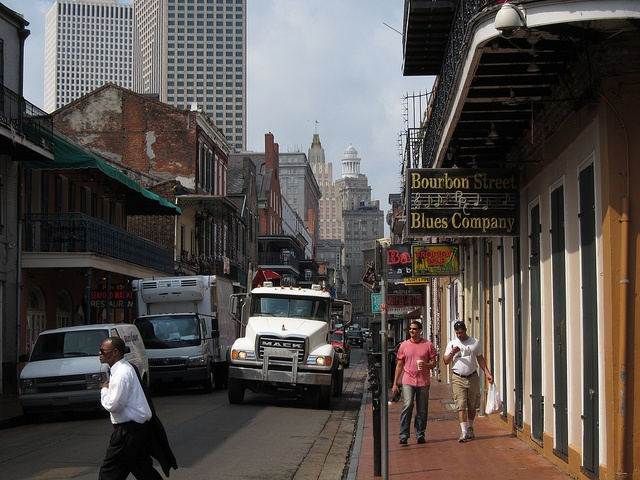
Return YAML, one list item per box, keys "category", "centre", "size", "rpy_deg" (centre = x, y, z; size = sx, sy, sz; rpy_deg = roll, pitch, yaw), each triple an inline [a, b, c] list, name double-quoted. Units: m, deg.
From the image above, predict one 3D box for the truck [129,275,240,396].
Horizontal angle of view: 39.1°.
- category: "truck"
  centre: [-4.012, 2.826, 27.830]
  size: [1.997, 2.684, 4.643]
  rpy_deg: [-1, -8, 3]

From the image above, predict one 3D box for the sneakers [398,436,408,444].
- category: "sneakers"
  centre: [1.531, 3.643, 16.468]
  size: [0.102, 0.113, 0.115]
  rpy_deg: [0, -1, 2]

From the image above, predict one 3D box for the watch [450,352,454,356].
- category: "watch"
  centre: [2.470, 2.113, 16.816]
  size: [0.043, 0.057, 0.087]
  rpy_deg: [5, 2, 25]

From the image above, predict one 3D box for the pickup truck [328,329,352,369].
- category: "pickup truck"
  centre: [0.859, 4.378, 39.040]
  size: [0.833, 0.980, 1.778]
  rpy_deg: [-4, 14, 22]

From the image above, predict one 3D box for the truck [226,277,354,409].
- category: "truck"
  centre: [-0.675, 2.717, 23.649]
  size: [1.805, 2.159, 3.498]
  rpy_deg: [-1, -11, 7]

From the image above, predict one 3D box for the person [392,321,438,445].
- category: "person"
  centre: [1.782, 2.631, 16.877]
  size: [0.787, 2.269, 0.805]
  rpy_deg: [-1, -6, 4]

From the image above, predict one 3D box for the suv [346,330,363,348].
- category: "suv"
  centre: [3.135, 8.705, 79.881]
  size: [1.141, 1.406, 2.565]
  rpy_deg: [0, -9, 3]

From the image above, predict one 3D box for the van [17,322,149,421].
- category: "van"
  centre: [-5.547, 2.567, 20.465]
  size: [1.930, 2.091, 3.661]
  rpy_deg: [-3, -11, 11]

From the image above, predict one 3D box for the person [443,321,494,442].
- category: "person"
  centre: [2.771, 2.632, 16.919]
  size: [0.828, 2.208, 0.873]
  rpy_deg: [-2, -6, 10]

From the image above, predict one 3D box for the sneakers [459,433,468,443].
- category: "sneakers"
  centre: [2.651, 3.645, 16.711]
  size: [0.176, 0.162, 0.275]
  rpy_deg: [-3, -7, 9]

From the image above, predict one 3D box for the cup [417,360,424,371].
- category: "cup"
  centre: [1.836, 2.304, 16.594]
  size: [0.126, 0.198, 0.136]
  rpy_deg: [1, -6, 0]
